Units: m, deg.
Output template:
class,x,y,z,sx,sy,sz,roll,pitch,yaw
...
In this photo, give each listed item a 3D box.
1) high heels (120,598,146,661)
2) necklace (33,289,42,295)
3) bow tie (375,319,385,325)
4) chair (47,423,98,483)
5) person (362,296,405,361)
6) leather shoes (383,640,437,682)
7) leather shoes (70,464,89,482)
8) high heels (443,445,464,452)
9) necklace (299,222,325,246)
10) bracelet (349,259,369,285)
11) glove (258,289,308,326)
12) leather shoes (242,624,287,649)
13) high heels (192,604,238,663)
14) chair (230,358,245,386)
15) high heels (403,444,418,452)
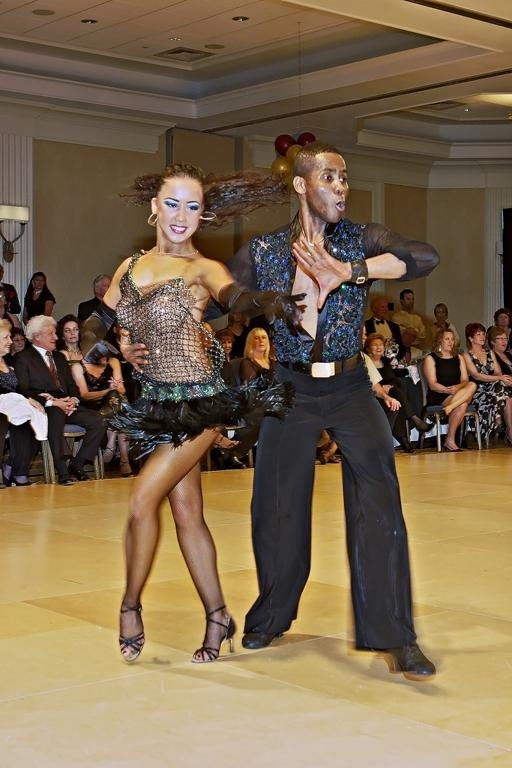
class,x,y,z,sx,sy,sz,roll,pitch,yaw
high heels,-0.337,0.676,1.779,0.070,0.169,0.047,-2,15,1
necklace,-3.415,-1.410,9.986,0.089,0.097,0.094,1,-6,-6
bow tie,2.061,-1.024,10.700,0.110,0.094,0.031,0,4,-7
chair,-1.876,0.683,6.381,0.588,0.639,0.553,0,-5,-6
person,2.056,-0.835,10.764,0.468,0.949,0.271,1,17,-5
leather shoes,0.411,0.744,1.751,0.070,0.066,0.163,2,-5,-28
leather shoes,-1.773,0.888,6.446,0.100,0.092,0.259,3,1,-38
high heels,2.579,0.846,8.427,0.331,0.115,0.099,-2,-4,24
necklace,0.161,-0.431,1.885,0.071,0.080,0.031,4,9,0
bracelet,0.268,-0.288,1.671,0.053,0.059,0.031,-1,-1,-1
glove,0.070,-0.187,1.570,0.214,0.084,0.109,-1,8,3
leather shoes,0.017,0.797,2.061,0.159,0.059,0.058,9,-6,-42
high heels,-0.122,0.718,1.869,0.159,0.134,0.073,3,-10,-25
chair,-0.203,-0.141,6.963,0.259,0.295,0.265,0,-9,-2
high heels,2.007,0.851,8.487,0.108,0.115,0.300,0,-6,-3
